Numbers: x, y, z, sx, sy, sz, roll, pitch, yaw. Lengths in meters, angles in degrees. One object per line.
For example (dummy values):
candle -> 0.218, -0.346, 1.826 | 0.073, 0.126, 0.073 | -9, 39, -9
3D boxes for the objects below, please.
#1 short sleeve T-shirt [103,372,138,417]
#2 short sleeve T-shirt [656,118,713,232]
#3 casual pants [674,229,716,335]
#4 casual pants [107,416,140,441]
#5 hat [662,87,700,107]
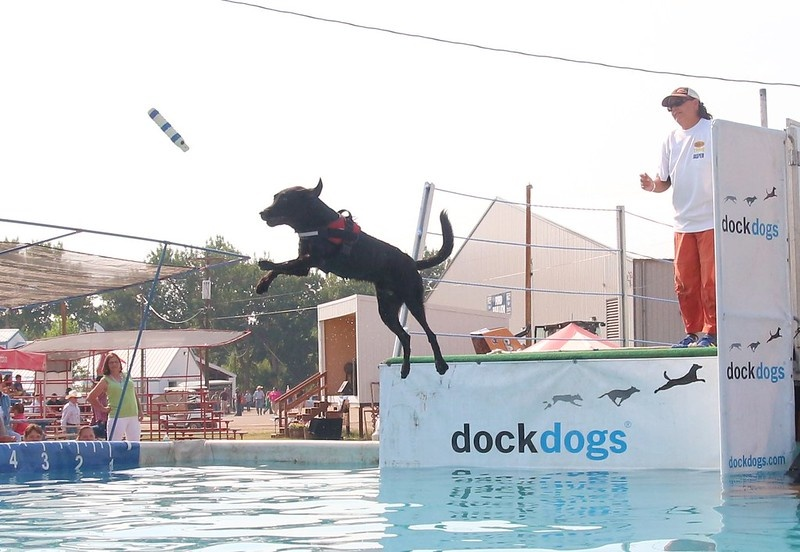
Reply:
short sleeve T-shirt -> -3.363, 1.468, 15.897 | 0.404, 0.529, 0.425 | 2, -12, -11
short sleeve T-shirt -> 3.016, -1.029, 13.617 | 0.275, 1.178, 0.699 | 8, -15, -38
casual pants -> 3.126, 0.019, 13.696 | 0.480, 1.133, 0.302 | 2, 9, 45
casual pants -> -3.308, 1.852, 15.788 | 0.299, 0.557, 0.195 | 2, -10, -42
hat -> 2.874, -1.867, 13.496 | 0.336, 0.167, 0.384 | -3, -12, 11
